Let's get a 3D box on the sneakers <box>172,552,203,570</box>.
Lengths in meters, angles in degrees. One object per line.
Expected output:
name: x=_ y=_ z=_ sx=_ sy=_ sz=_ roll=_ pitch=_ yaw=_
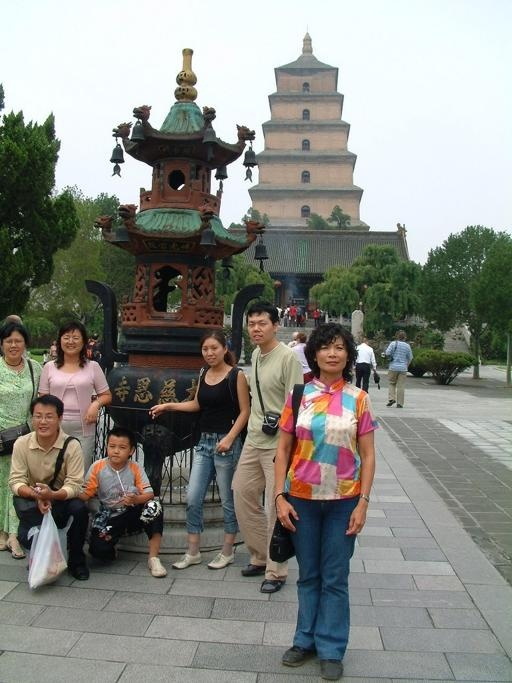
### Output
sneakers: x=-0.385 y=1.232 z=3.361 sx=0.061 sy=0.068 sz=0.170 roll=-8 pitch=-10 yaw=42

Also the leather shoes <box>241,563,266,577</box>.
leather shoes: x=-0.017 y=1.245 z=3.264 sx=0.156 sy=0.067 sz=0.051 roll=8 pitch=-10 yaw=-32

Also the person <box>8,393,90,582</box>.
person: x=-1.101 y=0.767 z=3.191 sx=0.389 sy=0.953 sz=0.390 roll=1 pitch=-2 yaw=-23

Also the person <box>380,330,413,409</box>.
person: x=2.806 y=0.560 z=11.832 sx=0.509 sy=1.490 sz=1.988 roll=0 pitch=-2 yaw=13

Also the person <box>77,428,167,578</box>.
person: x=-0.703 y=0.886 z=3.338 sx=0.575 sy=0.747 sz=0.530 roll=1 pitch=1 yaw=19

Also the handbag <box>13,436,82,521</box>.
handbag: x=-1.111 y=0.714 z=3.315 sx=0.358 sy=0.390 sz=0.415 roll=2 pitch=-11 yaw=-11

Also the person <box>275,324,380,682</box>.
person: x=0.264 y=0.572 z=2.304 sx=0.385 sy=1.300 sz=0.328 roll=1 pitch=-1 yaw=2

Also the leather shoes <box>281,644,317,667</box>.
leather shoes: x=0.172 y=1.186 z=2.263 sx=0.137 sy=0.056 sz=0.053 roll=15 pitch=-1 yaw=-38

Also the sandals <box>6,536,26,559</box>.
sandals: x=-1.436 y=1.230 z=3.558 sx=0.069 sy=0.048 sz=0.189 roll=4 pitch=0 yaw=-36

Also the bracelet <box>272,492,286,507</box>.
bracelet: x=0.096 y=0.623 z=2.360 sx=0.045 sy=0.032 sz=0.059 roll=2 pitch=-38 yaw=-9

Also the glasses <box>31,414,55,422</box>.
glasses: x=-1.139 y=0.415 z=3.198 sx=0.115 sy=0.054 sz=0.051 roll=0 pitch=-2 yaw=12

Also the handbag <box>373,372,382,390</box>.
handbag: x=3.431 y=1.146 z=16.956 sx=0.240 sy=0.626 sz=0.475 roll=-2 pitch=10 yaw=3

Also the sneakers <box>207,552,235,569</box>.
sneakers: x=-0.191 y=1.245 z=3.381 sx=0.060 sy=0.057 sz=0.149 roll=-10 pitch=-16 yaw=29
